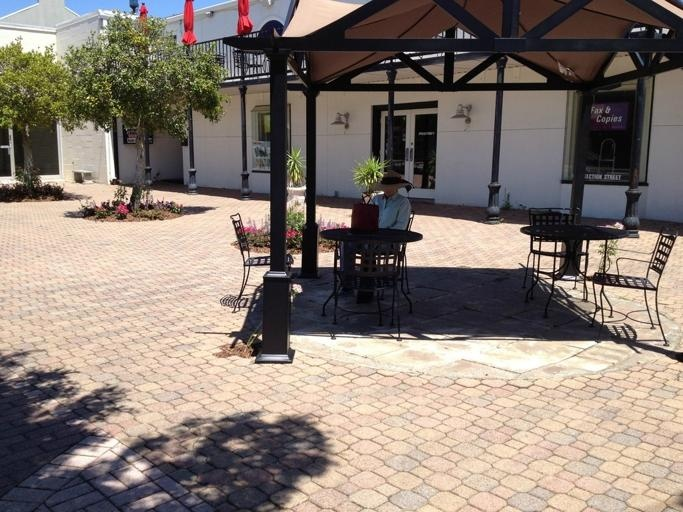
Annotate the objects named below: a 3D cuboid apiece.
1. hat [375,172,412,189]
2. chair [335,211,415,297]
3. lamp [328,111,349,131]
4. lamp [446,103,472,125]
[{"bbox_3d":[0.722,-0.978,7.304,0.377,0.110,0.274,0,13,-7],"label":"hat"},{"bbox_3d":[0.381,0.040,6.870,0.966,0.963,0.782,-1,40,-4],"label":"chair"},{"bbox_3d":[0.008,-4.614,19.190,0.566,0.583,0.540,-1,15,-3],"label":"lamp"},{"bbox_3d":[3.447,-4.142,16.380,0.445,0.552,0.549,-10,18,-32],"label":"lamp"}]
